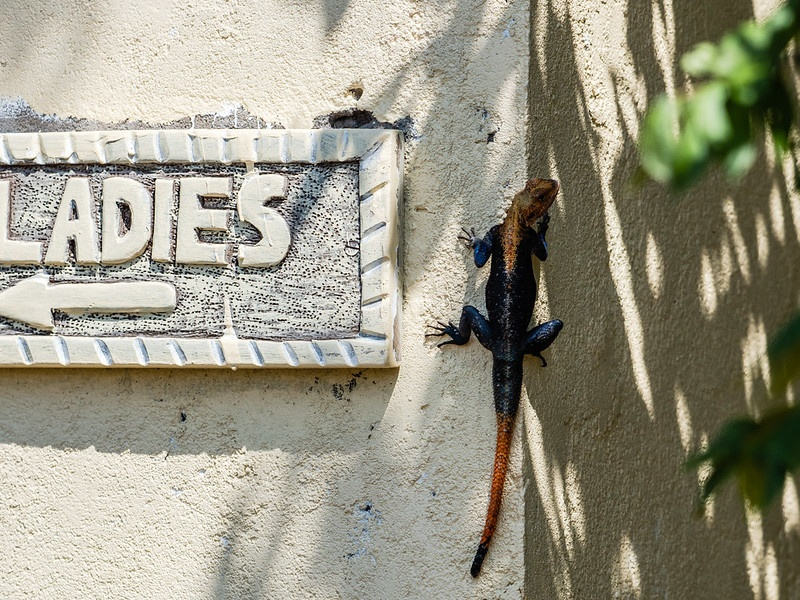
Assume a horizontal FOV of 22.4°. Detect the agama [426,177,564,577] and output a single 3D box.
[{"bbox_3d":[0.332,0.253,6.560,0.415,0.239,1.261,9,83,10],"label":"agama"}]
